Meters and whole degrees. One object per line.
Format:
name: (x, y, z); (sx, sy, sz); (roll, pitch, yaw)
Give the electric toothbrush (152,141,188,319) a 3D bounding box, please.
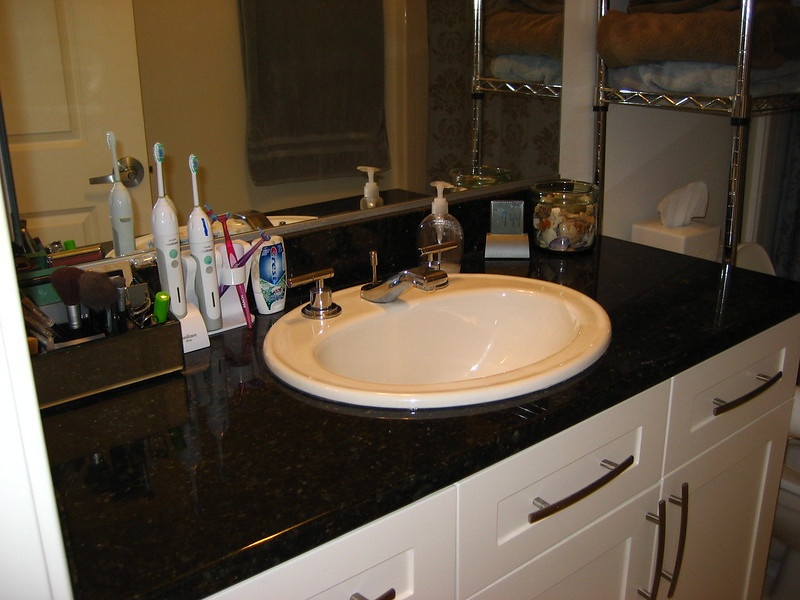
electric toothbrush: (-0.420, -0.121, 1.198); (0.047, 0.324, 0.049); (-5, 22, -14)
